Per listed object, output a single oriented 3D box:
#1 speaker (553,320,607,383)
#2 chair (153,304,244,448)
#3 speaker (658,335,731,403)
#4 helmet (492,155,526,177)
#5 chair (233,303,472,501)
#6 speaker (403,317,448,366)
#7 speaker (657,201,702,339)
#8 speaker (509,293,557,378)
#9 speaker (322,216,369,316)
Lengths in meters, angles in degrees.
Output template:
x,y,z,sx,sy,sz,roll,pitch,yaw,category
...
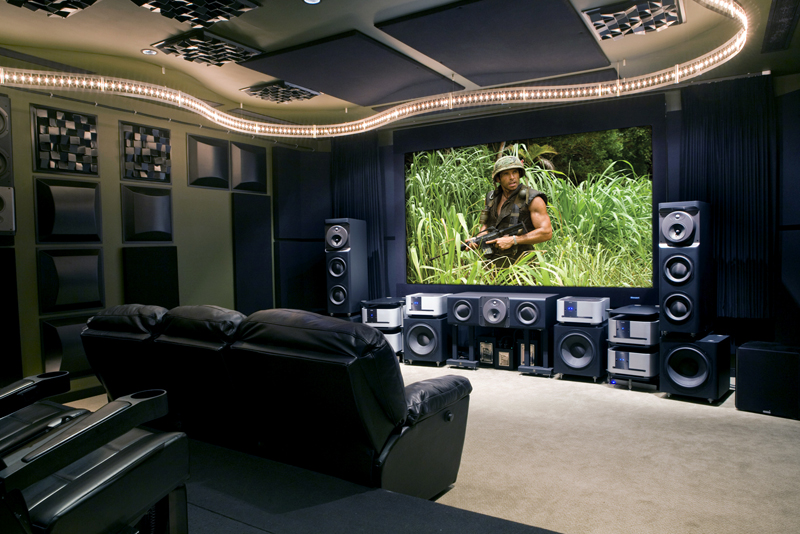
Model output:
x,y,z,sx,sy,sz,roll,pitch,yaw,category
1.872,0.883,5.732,0.515,0.598,0.606,-1,-3,33,speaker
-1.231,0.497,3.195,0.401,0.532,0.396,10,-5,-17,chair
2.759,0.918,5.331,0.675,0.739,0.573,1,4,39,speaker
1.280,-1.220,6.543,0.290,0.164,0.257,-12,3,17,helmet
-0.228,0.725,3.240,1.126,1.061,1.190,0,1,35,chair
0.291,0.874,6.448,0.501,0.574,0.556,-2,-6,26,speaker
2.628,0.003,5.150,0.414,1.221,0.236,4,11,25,speaker
1.477,0.730,6.092,0.463,0.858,0.400,3,11,17,speaker
-0.665,0.014,7.025,0.536,1.262,0.475,-3,10,-12,speaker
